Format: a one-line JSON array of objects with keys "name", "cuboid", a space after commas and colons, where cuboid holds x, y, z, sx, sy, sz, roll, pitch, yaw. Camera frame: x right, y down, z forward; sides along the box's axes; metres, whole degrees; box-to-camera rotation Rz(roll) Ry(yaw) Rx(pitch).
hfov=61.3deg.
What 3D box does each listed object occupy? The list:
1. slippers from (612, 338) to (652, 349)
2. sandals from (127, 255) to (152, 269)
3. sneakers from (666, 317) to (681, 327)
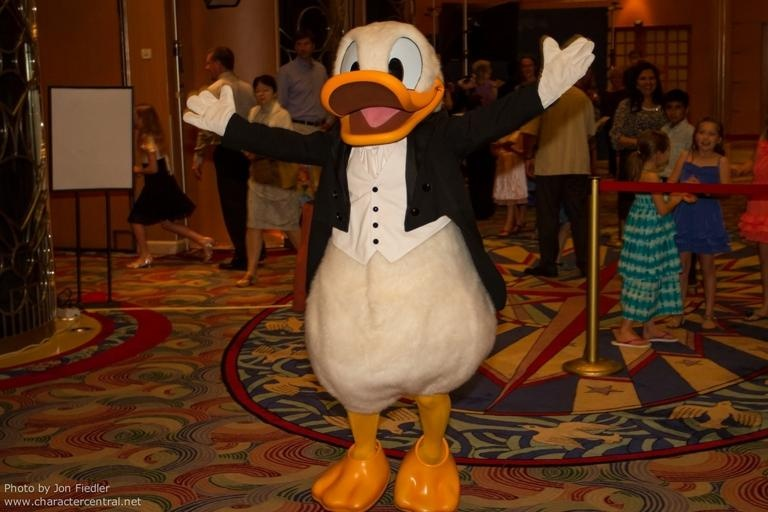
[{"name": "slippers", "cuboid": [1.735, 0.607, 4.526, 0.179, 0.040, 0.092, 0, 5, 10]}, {"name": "sandals", "cuboid": [-2.740, 0.071, 7.225, 0.225, 0.103, 0.129, 2, 3, -1]}, {"name": "sneakers", "cuboid": [2.209, 0.483, 4.912, 0.110, 0.072, 0.192, 3, 8, 24]}]
